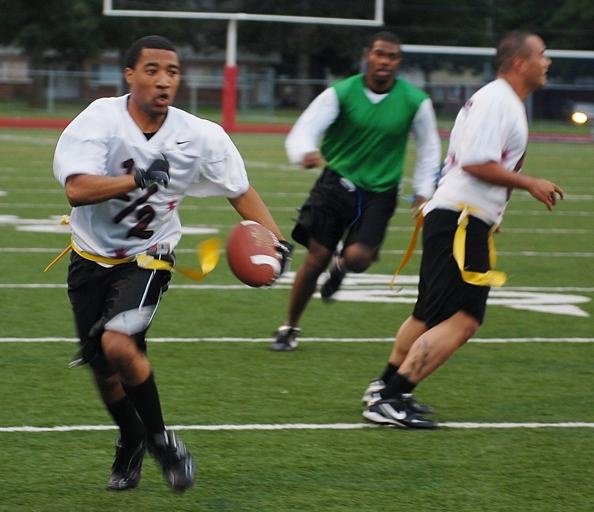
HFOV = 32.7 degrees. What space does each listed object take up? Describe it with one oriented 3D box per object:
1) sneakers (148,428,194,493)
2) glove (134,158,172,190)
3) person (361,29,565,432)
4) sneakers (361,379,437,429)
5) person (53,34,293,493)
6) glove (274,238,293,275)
[{"bbox_3d":[-0.543,0.864,4.297,0.168,0.285,0.123,-34,-14,-21],"label":"sneakers"},{"bbox_3d":[-0.584,-0.332,4.097,0.166,0.116,0.058,-13,-12,-8],"label":"glove"},{"bbox_3d":[0.799,-0.003,5.006,0.859,1.711,0.426,2,14,2],"label":"person"},{"bbox_3d":[0.588,0.773,5.151,0.510,0.199,0.151,7,-2,-11],"label":"sneakers"},{"bbox_3d":[-0.590,0.035,4.362,0.714,1.932,0.751,-11,19,-42],"label":"person"},{"bbox_3d":[-0.043,0.001,4.426,0.081,0.152,0.066,-11,-39,42],"label":"glove"}]
